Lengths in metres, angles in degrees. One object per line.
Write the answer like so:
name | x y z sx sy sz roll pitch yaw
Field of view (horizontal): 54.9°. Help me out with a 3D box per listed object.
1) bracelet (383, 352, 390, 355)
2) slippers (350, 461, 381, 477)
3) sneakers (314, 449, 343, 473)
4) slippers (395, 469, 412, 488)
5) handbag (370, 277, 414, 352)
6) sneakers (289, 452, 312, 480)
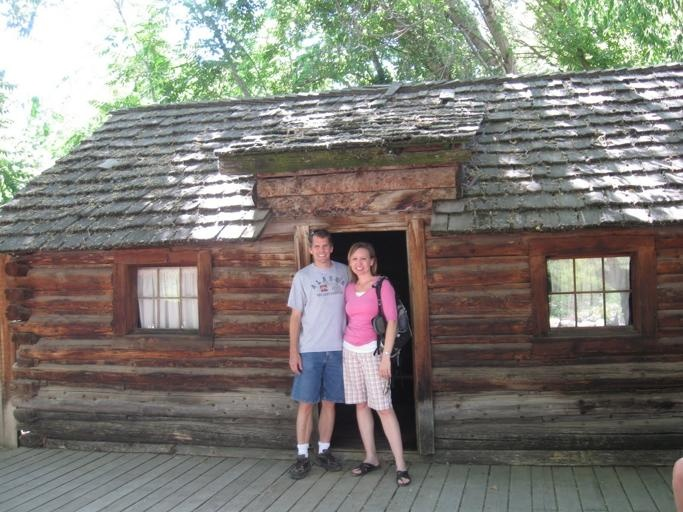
bracelet | 0.543 1.167 7.928 0.065 0.025 0.066 1 -4 15
slippers | 0.301 2.689 8.375 0.359 0.075 0.146 5 -8 -40
sneakers | -0.146 2.630 8.495 0.455 0.169 0.200 5 4 35
slippers | 0.756 2.721 8.055 0.230 0.098 0.459 -1 -9 2
handbag | 0.605 0.747 8.167 0.462 0.739 0.374 -4 -2 1
sneakers | -0.502 2.663 8.379 0.306 0.201 0.185 -2 -2 -22
